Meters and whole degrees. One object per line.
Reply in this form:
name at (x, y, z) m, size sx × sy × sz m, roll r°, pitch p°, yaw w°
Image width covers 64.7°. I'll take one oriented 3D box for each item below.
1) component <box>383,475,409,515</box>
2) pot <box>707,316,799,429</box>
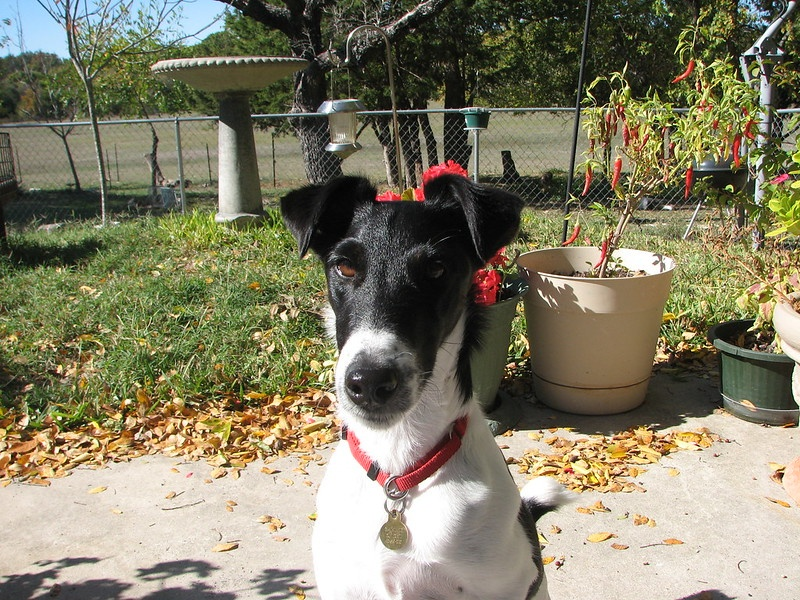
component at (-0.016, 0.826, 2.678) m, size 0.103 × 0.138 × 0.064 m, roll -2°, pitch 14°, yaw 1°
pot at (2.583, 0.517, 4.737) m, size 0.603 × 0.463 × 0.618 m, roll -3°, pitch 16°, yaw 1°
